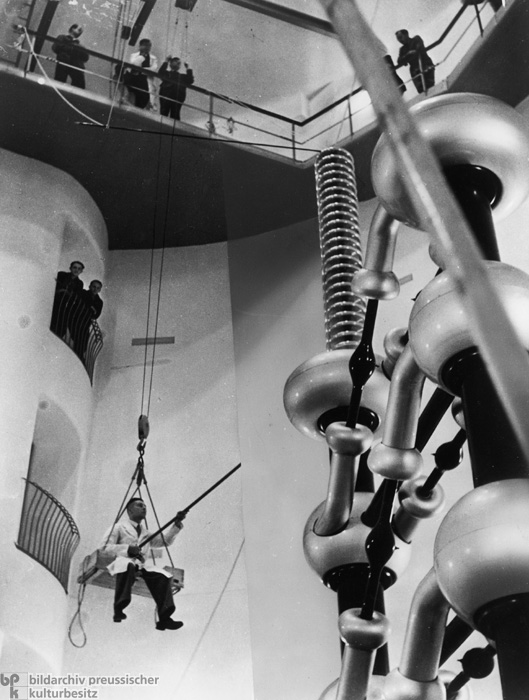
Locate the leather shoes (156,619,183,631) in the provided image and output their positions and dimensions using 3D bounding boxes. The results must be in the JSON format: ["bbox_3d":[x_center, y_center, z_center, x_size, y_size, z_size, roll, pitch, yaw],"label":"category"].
[{"bbox_3d":[-0.688,1.959,5.931,0.140,0.077,0.089,-6,-10,2],"label":"leather shoes"}]

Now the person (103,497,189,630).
[{"bbox_3d":[-0.923,1.555,6.230,0.546,1.115,0.540,-3,-41,-4],"label":"person"}]
